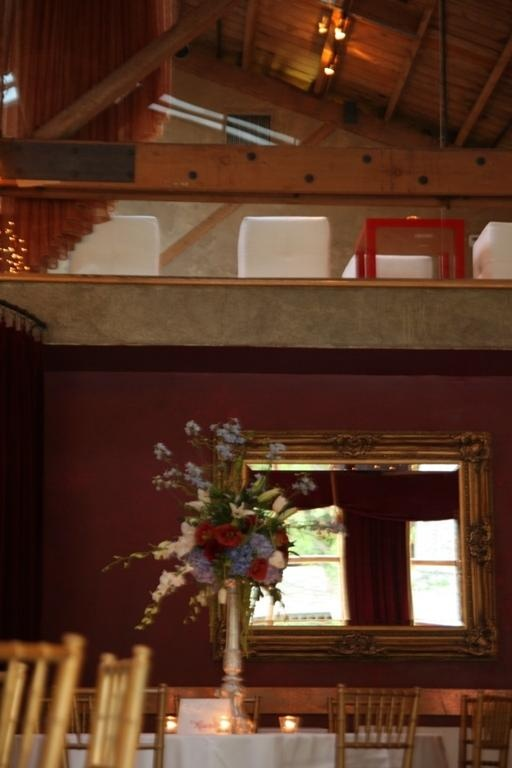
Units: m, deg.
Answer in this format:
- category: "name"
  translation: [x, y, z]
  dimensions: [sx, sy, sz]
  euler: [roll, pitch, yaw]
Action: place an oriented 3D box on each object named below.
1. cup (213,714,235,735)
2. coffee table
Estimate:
- category: "cup"
  translation: [-0.138, 1.434, 5.759]
  dimensions: [0.063, 0.070, 0.066]
  euler: [-1, -16, 0]
- category: "coffee table"
  translation: [0.882, -0.762, 7.672]
  dimensions: [0.419, 0.265, 0.423]
  euler: [0, 3, 1]
